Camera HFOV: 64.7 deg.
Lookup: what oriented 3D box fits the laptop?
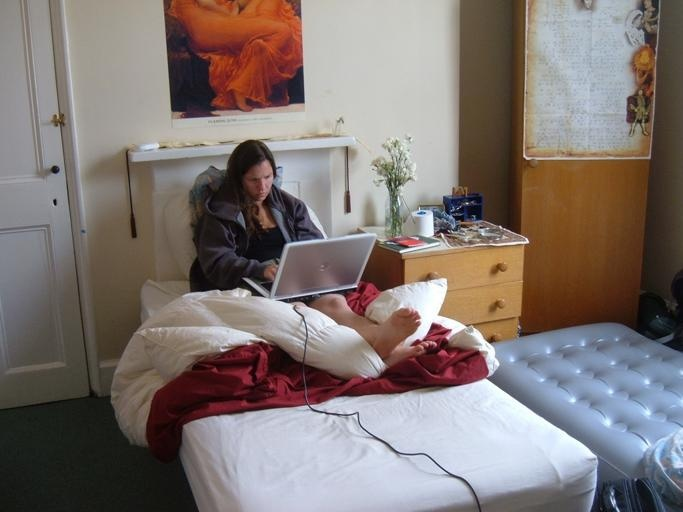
[{"bbox_3d":[-0.086,0.051,2.381,0.390,0.284,0.365,-8,24,-30],"label":"laptop"}]

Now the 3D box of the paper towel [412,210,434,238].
[{"bbox_3d":[0.479,-0.189,3.131,0.128,0.161,0.135,1,16,10],"label":"paper towel"}]

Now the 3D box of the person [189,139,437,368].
[{"bbox_3d":[-0.195,-0.019,2.530,0.610,0.856,1.384,-8,17,-36],"label":"person"}]

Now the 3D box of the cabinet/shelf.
[{"bbox_3d":[0.585,0.040,3.181,0.818,0.851,0.619,-5,9,-27],"label":"cabinet/shelf"}]

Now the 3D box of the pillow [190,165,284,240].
[{"bbox_3d":[-0.562,-0.233,2.828,0.388,0.156,0.383,-10,22,-15],"label":"pillow"}]
